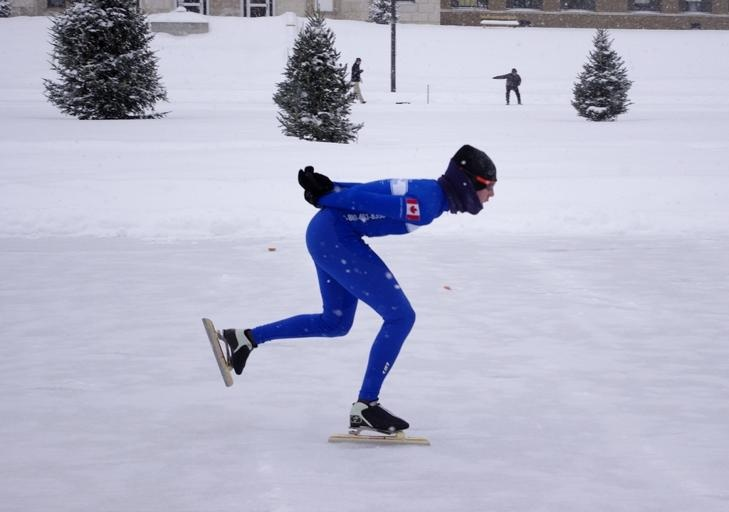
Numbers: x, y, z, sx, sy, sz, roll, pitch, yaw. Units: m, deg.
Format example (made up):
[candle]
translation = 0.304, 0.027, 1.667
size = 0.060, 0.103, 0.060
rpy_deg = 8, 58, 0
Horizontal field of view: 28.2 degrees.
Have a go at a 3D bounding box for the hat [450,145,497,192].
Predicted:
[hat]
translation = 1.700, -1.400, 22.464
size = 0.761, 0.600, 0.585
rpy_deg = 46, 10, 9

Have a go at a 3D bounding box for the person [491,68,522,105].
[person]
translation = 4.639, -5.465, 46.520
size = 1.400, 1.134, 0.409
rpy_deg = -4, 5, -24
